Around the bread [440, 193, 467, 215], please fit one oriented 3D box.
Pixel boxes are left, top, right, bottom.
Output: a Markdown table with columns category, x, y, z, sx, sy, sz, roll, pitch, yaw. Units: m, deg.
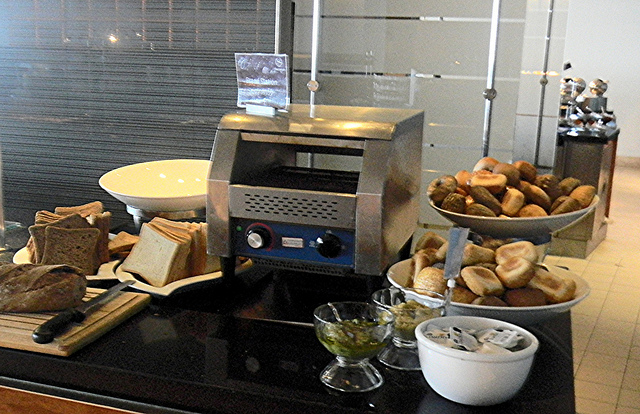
| category | x | y | z | sx | sy | sz | roll | pitch | yaw |
| --- | --- | --- | --- | --- | --- | --- | --- | --- | --- |
| bread | 0.368 | -0.011 | 1.278 | 0.075 | 0.048 | 0.039 | 8 | 19 | 26 |

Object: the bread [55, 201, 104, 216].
| category | x | y | z | sx | sy | sz | roll | pitch | yaw |
| --- | --- | --- | --- | --- | --- | --- | --- | --- | --- |
| bread | -0.800 | 0.003 | 1.578 | 0.130 | 0.033 | 0.177 | -5 | 17 | -19 |

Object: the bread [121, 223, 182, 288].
| category | x | y | z | sx | sy | sz | roll | pitch | yaw |
| --- | --- | --- | --- | --- | --- | --- | --- | --- | --- |
| bread | -0.469 | 0.132 | 1.352 | 0.191 | 0.179 | 0.059 | 30 | 12 | 22 |

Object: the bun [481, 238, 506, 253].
| category | x | y | z | sx | sy | sz | roll | pitch | yaw |
| --- | --- | --- | --- | --- | --- | --- | --- | --- | --- |
| bun | 0.475 | 0.104 | 1.282 | 0.038 | 0.009 | 0.040 | 10 | 17 | 36 |

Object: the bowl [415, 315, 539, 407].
| category | x | y | z | sx | sy | sz | roll | pitch | yaw |
| --- | --- | --- | --- | --- | --- | --- | --- | --- | --- |
| bowl | 0.325 | 0.301 | 0.972 | 0.208 | 0.080 | 0.192 | 0 | 9 | 0 |

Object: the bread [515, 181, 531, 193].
| category | x | y | z | sx | sy | sz | roll | pitch | yaw |
| --- | --- | --- | --- | --- | --- | --- | --- | --- | --- |
| bread | 0.555 | -0.056 | 1.295 | 0.031 | 0.026 | 0.040 | 2 | 13 | 23 |

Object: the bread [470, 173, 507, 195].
| category | x | y | z | sx | sy | sz | roll | pitch | yaw |
| --- | --- | --- | --- | --- | --- | --- | --- | --- | --- |
| bread | 0.463 | -0.063 | 1.276 | 0.078 | 0.025 | 0.062 | 5 | 22 | 30 |

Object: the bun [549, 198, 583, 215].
| category | x | y | z | sx | sy | sz | roll | pitch | yaw |
| --- | --- | --- | --- | --- | --- | --- | --- | --- | --- |
| bun | 0.652 | -0.001 | 1.254 | 0.072 | 0.035 | 0.023 | -26 | 21 | -4 |

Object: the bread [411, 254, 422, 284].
| category | x | y | z | sx | sy | sz | roll | pitch | yaw |
| --- | --- | --- | --- | --- | --- | --- | --- | --- | --- |
| bread | 0.247 | 0.159 | 1.197 | 0.014 | 0.051 | 0.041 | 16 | -7 | 2 |

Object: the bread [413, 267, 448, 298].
| category | x | y | z | sx | sy | sz | roll | pitch | yaw |
| --- | --- | --- | --- | --- | --- | --- | --- | --- | --- |
| bread | 0.266 | 0.181 | 1.122 | 0.069 | 0.059 | 0.033 | 12 | -11 | 40 |

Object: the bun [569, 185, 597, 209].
| category | x | y | z | sx | sy | sz | roll | pitch | yaw |
| --- | --- | --- | --- | --- | --- | --- | --- | --- | --- |
| bun | 0.723 | -0.032 | 1.293 | 0.050 | 0.029 | 0.099 | 7 | 23 | 29 |

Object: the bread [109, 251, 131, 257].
| category | x | y | z | sx | sy | sz | roll | pitch | yaw |
| --- | --- | --- | --- | --- | --- | --- | --- | --- | --- |
| bread | -0.638 | 0.153 | 1.511 | 0.047 | 0.014 | 0.031 | 0 | 1 | 0 |

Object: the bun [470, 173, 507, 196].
| category | x | y | z | sx | sy | sz | roll | pitch | yaw |
| --- | --- | --- | --- | --- | --- | --- | --- | --- | --- |
| bun | 0.462 | -0.061 | 1.275 | 0.081 | 0.025 | 0.061 | 1 | 17 | 25 |

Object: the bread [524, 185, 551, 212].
| category | x | y | z | sx | sy | sz | roll | pitch | yaw |
| --- | --- | --- | --- | --- | --- | --- | --- | --- | --- |
| bread | 0.592 | -0.025 | 1.273 | 0.067 | 0.031 | 0.068 | 44 | -8 | -11 |

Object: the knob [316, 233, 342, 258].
| category | x | y | z | sx | sy | sz | roll | pitch | yaw |
| --- | --- | --- | --- | --- | --- | --- | --- | --- | --- |
| knob | 0.025 | 0.103 | 1.257 | 0.069 | 0.062 | 0.028 | 1 | 18 | 2 |

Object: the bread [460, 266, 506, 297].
| category | x | y | z | sx | sy | sz | roll | pitch | yaw |
| --- | --- | --- | --- | --- | --- | --- | --- | --- | --- |
| bread | 0.380 | 0.176 | 1.133 | 0.085 | 0.028 | 0.086 | 33 | 26 | 21 |

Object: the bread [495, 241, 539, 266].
| category | x | y | z | sx | sy | sz | roll | pitch | yaw |
| --- | --- | --- | --- | --- | --- | --- | --- | --- | --- |
| bread | 0.502 | 0.109 | 1.228 | 0.121 | 0.035 | 0.107 | -13 | -6 | 8 |

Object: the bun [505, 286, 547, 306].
| category | x | y | z | sx | sy | sz | roll | pitch | yaw |
| --- | --- | --- | --- | --- | --- | --- | --- | --- | --- |
| bun | 0.492 | 0.213 | 1.112 | 0.059 | 0.017 | 0.056 | -8 | 12 | -29 |

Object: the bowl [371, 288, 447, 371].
| category | x | y | z | sx | sy | sz | roll | pitch | yaw |
| --- | --- | --- | --- | --- | --- | --- | --- | --- | --- |
| bowl | 0.179 | 0.265 | 1.116 | 0.197 | 0.154 | 0.192 | 2 | 5 | 0 |

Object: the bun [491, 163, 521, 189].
| category | x | y | z | sx | sy | sz | roll | pitch | yaw |
| --- | --- | --- | --- | --- | --- | --- | --- | --- | --- |
| bun | 0.517 | -0.084 | 1.293 | 0.082 | 0.053 | 0.060 | 13 | 4 | 41 |

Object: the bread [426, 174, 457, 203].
| category | x | y | z | sx | sy | sz | roll | pitch | yaw |
| --- | --- | --- | --- | --- | --- | --- | --- | --- | --- |
| bread | 0.366 | -0.041 | 1.335 | 0.085 | 0.030 | 0.080 | -30 | 28 | 3 |

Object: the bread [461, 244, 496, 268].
| category | x | y | z | sx | sy | sz | roll | pitch | yaw |
| --- | --- | --- | --- | --- | --- | --- | --- | --- | --- |
| bread | 0.386 | 0.123 | 1.164 | 0.072 | 0.024 | 0.063 | 8 | 43 | -4 |

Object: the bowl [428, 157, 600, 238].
| category | x | y | z | sx | sy | sz | roll | pitch | yaw |
| --- | --- | --- | --- | --- | --- | --- | --- | --- | --- |
| bowl | 0.568 | -0.017 | 1.402 | 0.503 | 0.168 | 0.442 | 2 | 8 | -16 |

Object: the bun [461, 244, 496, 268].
| category | x | y | z | sx | sy | sz | roll | pitch | yaw |
| --- | --- | --- | --- | --- | --- | --- | --- | --- | --- |
| bun | 0.393 | 0.118 | 1.162 | 0.074 | 0.024 | 0.068 | 1 | 13 | 17 |

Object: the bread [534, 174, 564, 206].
| category | x | y | z | sx | sy | sz | roll | pitch | yaw |
| --- | --- | --- | --- | --- | --- | --- | --- | --- | --- |
| bread | 0.665 | -0.052 | 1.334 | 0.081 | 0.076 | 0.039 | 27 | 48 | 14 |

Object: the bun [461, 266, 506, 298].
| category | x | y | z | sx | sy | sz | roll | pitch | yaw |
| --- | --- | --- | --- | --- | --- | --- | --- | --- | --- |
| bun | 0.379 | 0.176 | 1.134 | 0.084 | 0.029 | 0.084 | 35 | 26 | 18 |

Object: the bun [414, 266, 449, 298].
| category | x | y | z | sx | sy | sz | roll | pitch | yaw |
| --- | --- | --- | --- | --- | --- | --- | --- | --- | --- |
| bun | 0.268 | 0.179 | 1.128 | 0.070 | 0.062 | 0.031 | 17 | -19 | 40 |

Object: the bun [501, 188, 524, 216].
| category | x | y | z | sx | sy | sz | roll | pitch | yaw |
| --- | --- | --- | --- | --- | --- | --- | --- | --- | --- |
| bun | 0.513 | -0.013 | 1.250 | 0.023 | 0.061 | 0.068 | 24 | -11 | -13 |

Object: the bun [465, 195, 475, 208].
| category | x | y | z | sx | sy | sz | roll | pitch | yaw |
| --- | --- | --- | --- | --- | --- | --- | --- | --- | --- |
| bun | 0.408 | -0.015 | 1.288 | 0.028 | 0.008 | 0.026 | -24 | 26 | 6 |

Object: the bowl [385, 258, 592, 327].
| category | x | y | z | sx | sy | sz | roll | pitch | yaw |
| --- | --- | --- | --- | --- | --- | --- | --- | --- | --- |
| bowl | 0.359 | 0.224 | 1.154 | 0.297 | 0.054 | 0.300 | 0 | 9 | 0 |

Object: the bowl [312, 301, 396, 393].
| category | x | y | z | sx | sy | sz | roll | pitch | yaw |
| --- | --- | --- | --- | --- | --- | --- | --- | --- | --- |
| bowl | 0.081 | 0.294 | 1.053 | 0.170 | 0.151 | 0.200 | 7 | 18 | 21 |
